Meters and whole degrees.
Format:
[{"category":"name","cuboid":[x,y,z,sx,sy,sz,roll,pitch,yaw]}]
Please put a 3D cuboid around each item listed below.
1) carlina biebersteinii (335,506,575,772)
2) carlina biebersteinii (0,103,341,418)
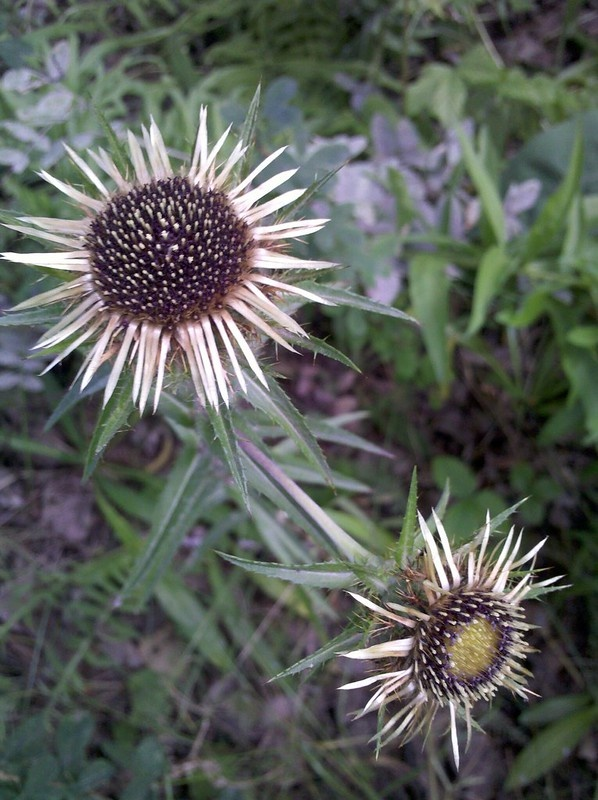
[{"category":"carlina biebersteinii","cuboid":[0.334,0.527,1.736,0.384,0.711,0.542,27,68,17]},{"category":"carlina biebersteinii","cuboid":[-0.288,-0.286,1.756,0.754,0.259,0.664,16,80,-1]}]
